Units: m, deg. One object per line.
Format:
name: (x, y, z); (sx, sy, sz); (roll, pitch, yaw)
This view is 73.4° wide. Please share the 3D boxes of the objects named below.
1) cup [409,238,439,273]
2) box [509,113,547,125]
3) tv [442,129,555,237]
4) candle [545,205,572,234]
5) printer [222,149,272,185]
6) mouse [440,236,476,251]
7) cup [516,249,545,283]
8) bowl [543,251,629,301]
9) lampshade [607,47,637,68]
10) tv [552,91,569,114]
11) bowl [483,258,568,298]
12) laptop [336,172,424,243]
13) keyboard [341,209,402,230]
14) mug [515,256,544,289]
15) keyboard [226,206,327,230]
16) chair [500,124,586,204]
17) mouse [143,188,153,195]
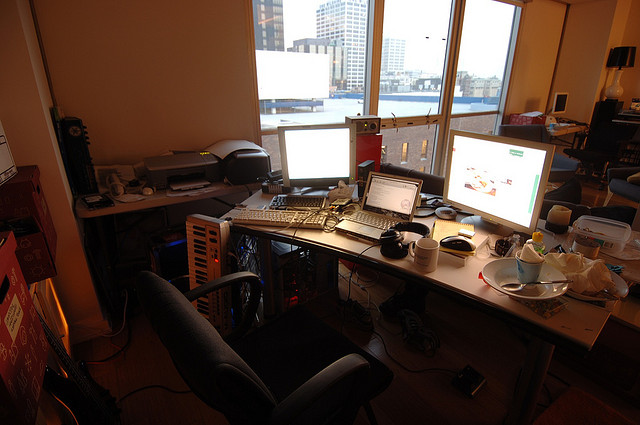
cup: (0.635, 0.260, 2.690); (0.135, 0.180, 0.205); (-14, 28, -28)
box: (2.937, -1.289, 5.946); (0.540, 0.138, 0.299); (-2, 23, -3)
tv: (1.172, -0.171, 2.865); (0.683, 0.671, 0.242); (29, 38, 36)
candle: (1.601, 0.047, 2.889); (0.144, 0.141, 0.118); (8, 19, 23)
printer: (-0.652, -0.419, 3.711); (0.423, 0.291, 0.304); (-11, 15, -38)
mouse: (0.874, 0.177, 2.703); (0.170, 0.061, 0.099); (5, 25, 23)
cup: (1.223, 0.307, 2.541); (0.150, 0.158, 0.142); (-2, 19, 1)
bowl: (1.578, 0.399, 2.498); (0.301, 0.121, 0.304); (-3, 24, 1)
lampshade: (4.285, -2.208, 6.140); (0.308, 0.335, 0.299); (-12, 23, -39)
tv: (3.552, -1.649, 6.367); (0.327, 0.282, 0.034); (-26, 29, -25)
bowl: (1.148, 0.353, 2.484); (0.324, 0.083, 0.335); (-5, 7, 1)
laptop: (0.395, -0.060, 2.965); (0.541, 0.296, 0.499); (-16, 25, -30)
keyboard: (0.354, 0.040, 3.025); (0.401, 0.048, 0.190); (9, 25, 20)
mug: (1.195, 0.349, 2.536); (0.151, 0.168, 0.155); (-1, 28, 1)
keyboard: (-0.297, 0.044, 3.068); (0.701, 0.068, 0.180); (2, 23, 6)
chair: (2.659, -0.597, 5.381); (0.835, 0.903, 0.882); (9, 19, 28)
mouse: (-1.341, -0.165, 3.364); (0.050, 0.034, 0.049); (-9, 32, -29)
